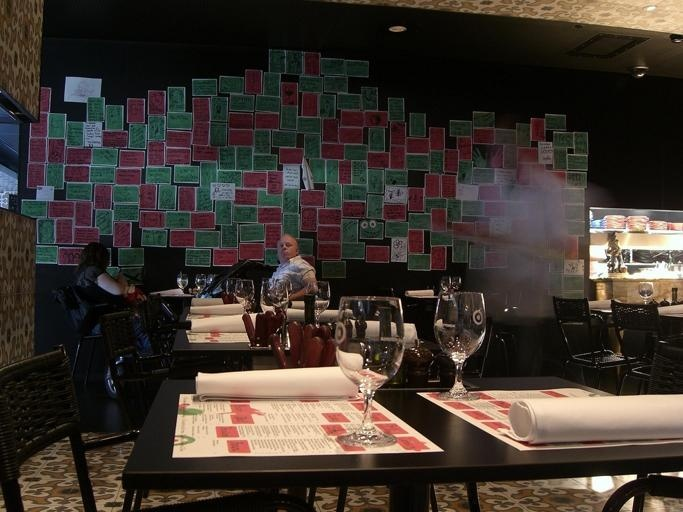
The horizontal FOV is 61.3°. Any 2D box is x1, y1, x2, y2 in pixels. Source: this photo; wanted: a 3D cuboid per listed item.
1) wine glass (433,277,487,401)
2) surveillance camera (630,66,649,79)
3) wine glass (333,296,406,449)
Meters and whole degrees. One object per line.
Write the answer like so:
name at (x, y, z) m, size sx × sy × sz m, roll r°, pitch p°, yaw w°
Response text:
wine glass at (0.322, 0.233, 1.565) m, size 0.129 × 0.296 × 0.260 m, roll 1°, pitch 6°, yaw 12°
surveillance camera at (3.479, -2.138, 6.743) m, size 0.168 × 0.116 × 0.171 m, roll 3°, pitch 5°, yaw 25°
wine glass at (0.061, 0.231, 1.210) m, size 0.138 × 0.293 × 0.192 m, roll 2°, pitch 7°, yaw 19°
